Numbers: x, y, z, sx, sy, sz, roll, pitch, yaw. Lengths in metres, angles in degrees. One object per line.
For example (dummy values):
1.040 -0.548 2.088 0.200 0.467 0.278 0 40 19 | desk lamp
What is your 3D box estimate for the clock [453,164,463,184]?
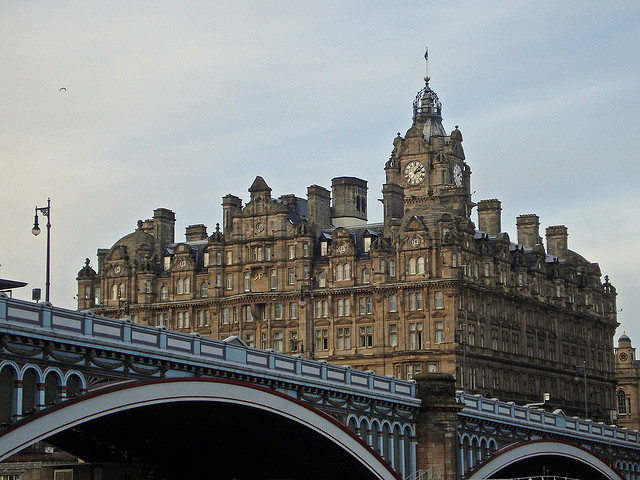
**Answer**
12.909 -6.341 188.387 0.077 2.015 1.993 -2 -2 23 | clock
